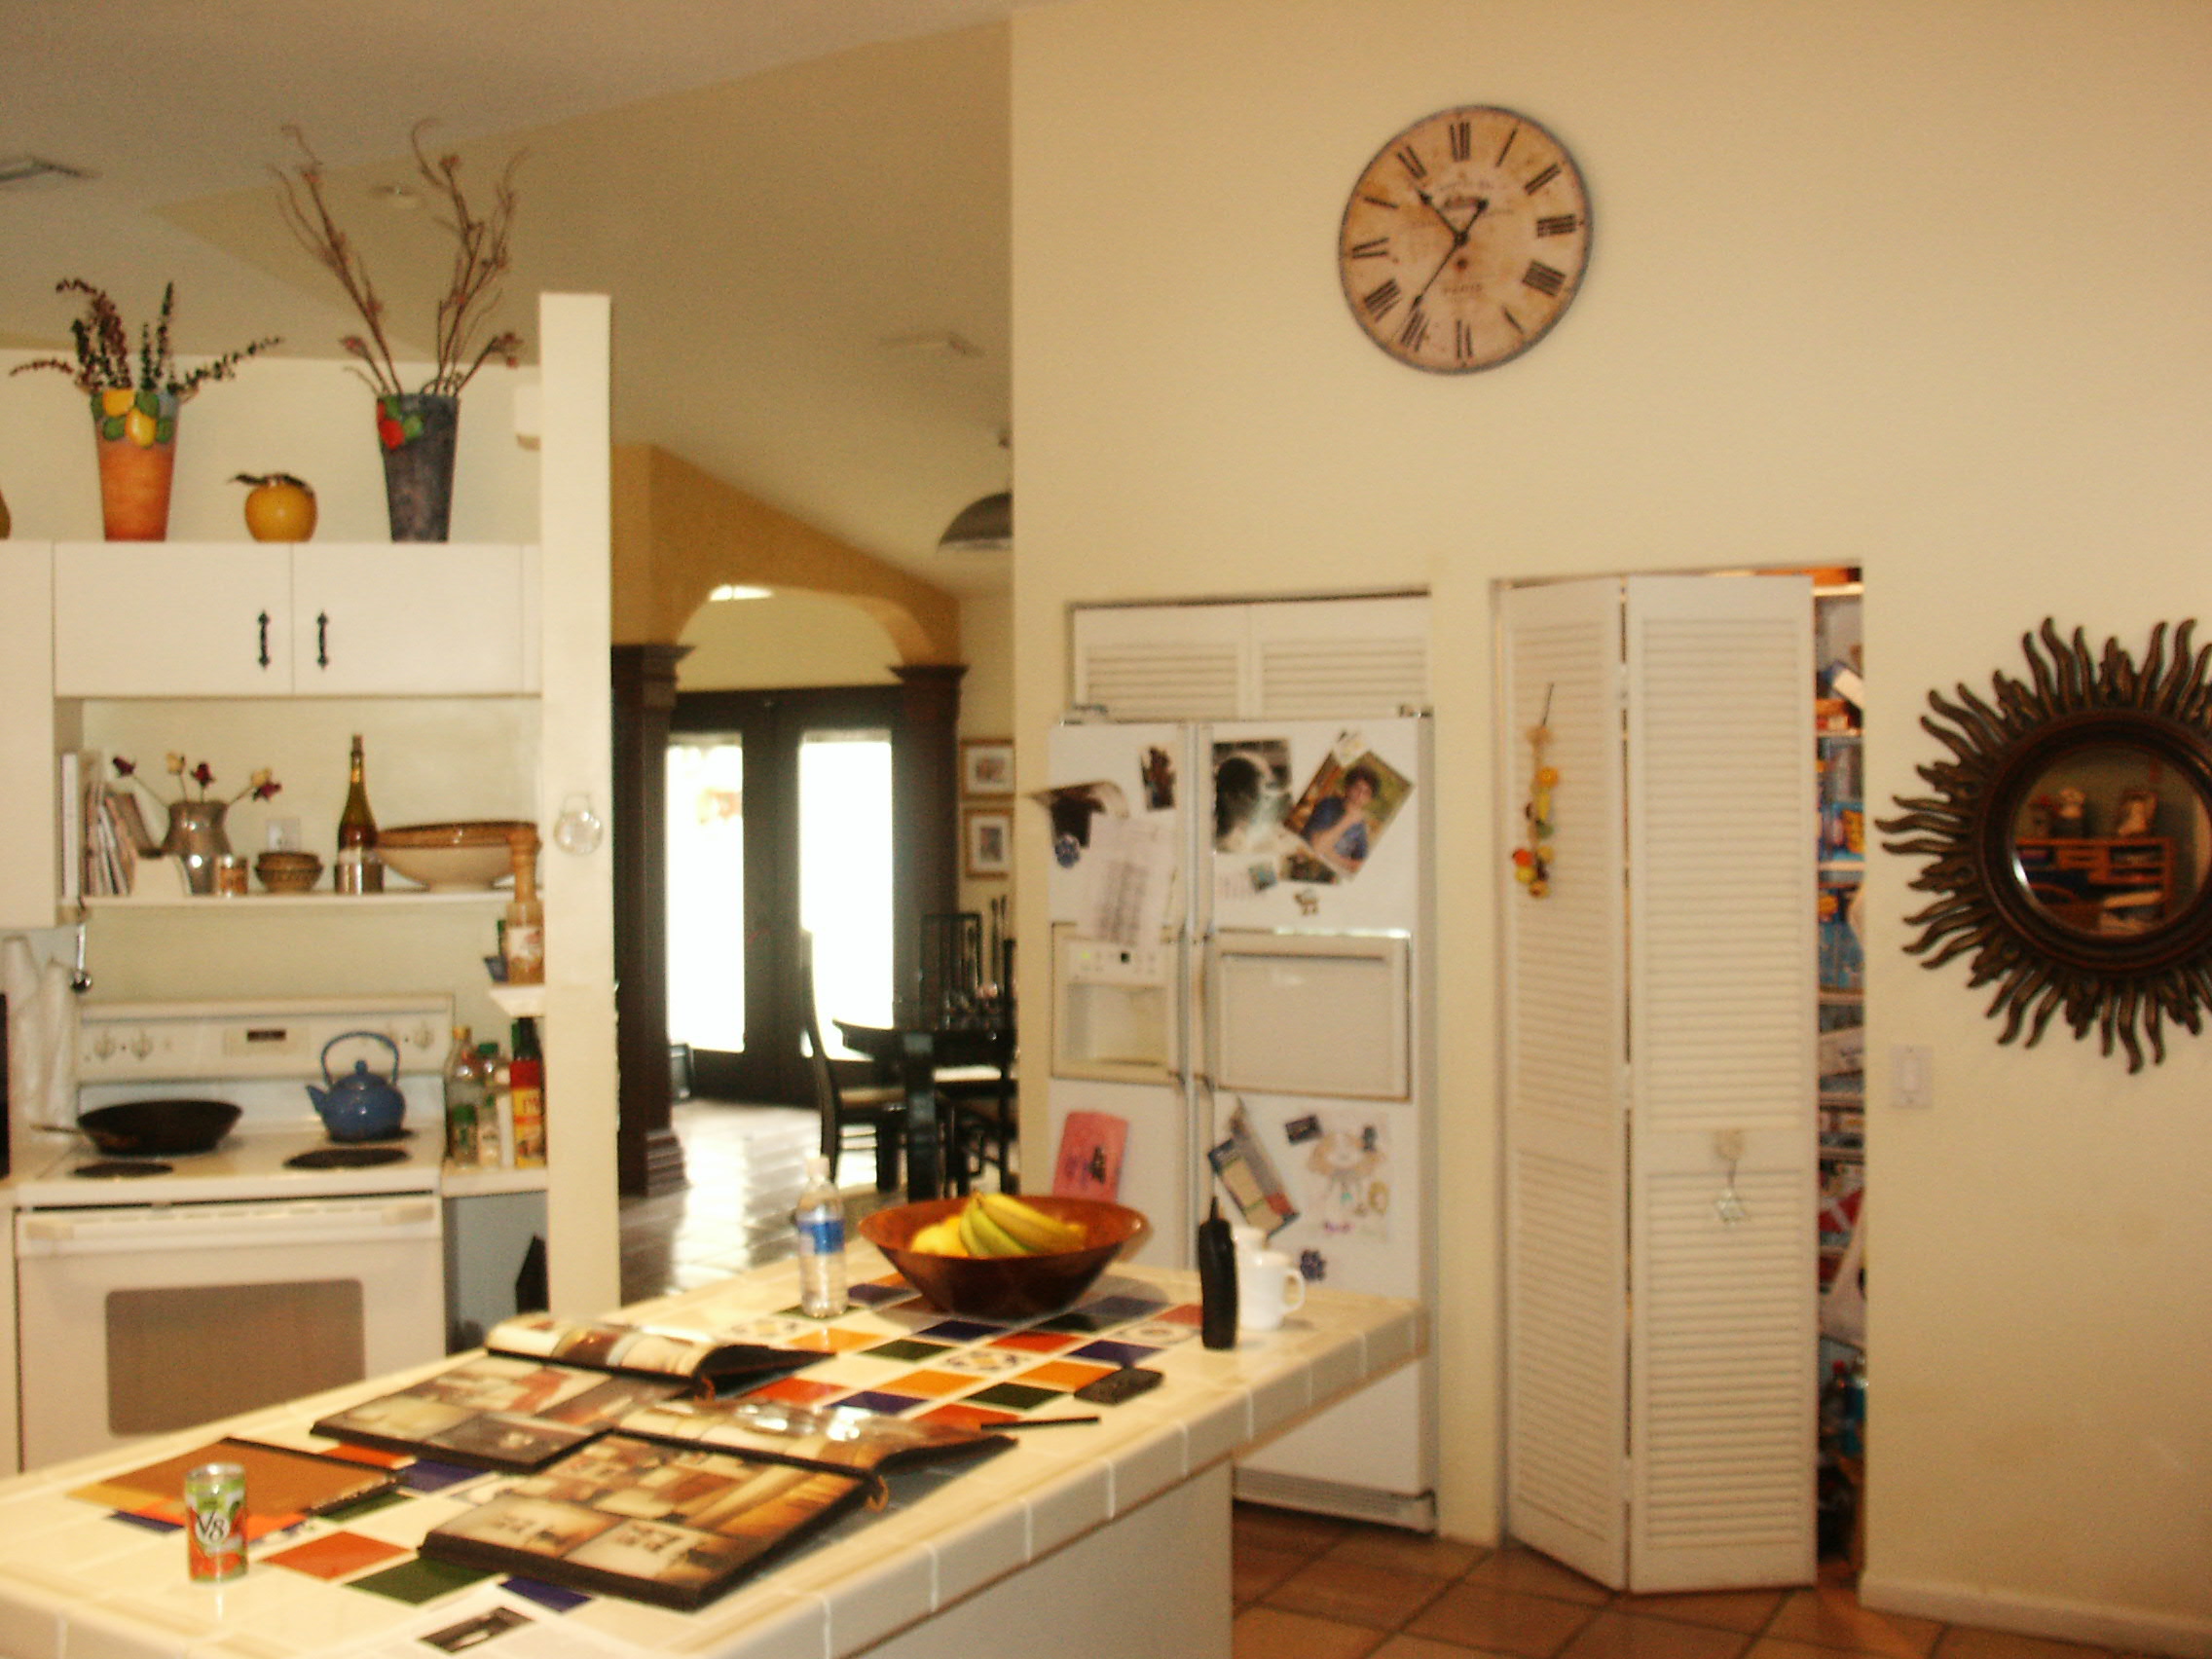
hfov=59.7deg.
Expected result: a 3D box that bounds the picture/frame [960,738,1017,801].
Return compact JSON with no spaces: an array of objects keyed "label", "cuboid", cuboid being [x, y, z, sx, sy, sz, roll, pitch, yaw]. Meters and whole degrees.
[{"label":"picture/frame","cuboid":[-0.669,-0.333,10.982,0.447,0.401,0.046,1,1,19]}]

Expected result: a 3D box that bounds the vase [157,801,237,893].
[{"label":"vase","cuboid":[-2.313,0.047,4.933,0.207,0.305,0.210,1,3,-23]}]

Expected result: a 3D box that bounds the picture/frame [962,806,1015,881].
[{"label":"picture/frame","cuboid":[-0.676,0.074,11.149,0.398,0.435,0.045,2,5,23]}]

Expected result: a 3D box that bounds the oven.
[{"label":"oven","cuboid":[-2.146,1.235,4.878,0.898,0.987,0.626,0,4,-16]}]

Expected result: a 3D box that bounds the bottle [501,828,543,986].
[{"label":"bottle","cuboid":[-1.451,0.184,4.830,0.110,0.388,0.173,-5,7,-10]}]

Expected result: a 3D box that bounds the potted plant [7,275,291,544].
[{"label":"potted plant","cuboid":[-2.734,-1.131,5.419,0.555,0.730,1.493,-8,8,-28]}]

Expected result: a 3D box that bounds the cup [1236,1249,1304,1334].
[{"label":"cup","cuboid":[0.280,0.817,3.485,0.153,0.155,0.099,0,0,31]}]

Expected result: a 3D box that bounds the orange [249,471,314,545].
[{"label":"orange","cuboid":[-2.096,-0.813,4.907,0.165,0.199,0.171,10,9,38]}]

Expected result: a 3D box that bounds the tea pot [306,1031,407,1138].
[{"label":"tea pot","cuboid":[-1.955,0.666,5.029,0.237,0.265,0.174,-2,1,-29]}]

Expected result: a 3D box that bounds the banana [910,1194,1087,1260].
[{"label":"banana","cuboid":[-0.187,0.714,3.436,0.175,0.083,0.180,3,-1,12]}]

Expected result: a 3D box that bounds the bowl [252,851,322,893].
[{"label":"bowl","cuboid":[-2.112,0.122,5.004,0.117,0.075,0.119,0,-6,0]}]

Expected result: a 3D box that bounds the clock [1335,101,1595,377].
[{"label":"clock","cuboid":[0.986,-1.599,5.169,0.719,0.752,0.082,4,5,24]}]

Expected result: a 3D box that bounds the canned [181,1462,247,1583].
[{"label":"canned","cuboid":[-1.216,0.951,2.631,0.080,0.137,0.084,-11,-15,18]}]
